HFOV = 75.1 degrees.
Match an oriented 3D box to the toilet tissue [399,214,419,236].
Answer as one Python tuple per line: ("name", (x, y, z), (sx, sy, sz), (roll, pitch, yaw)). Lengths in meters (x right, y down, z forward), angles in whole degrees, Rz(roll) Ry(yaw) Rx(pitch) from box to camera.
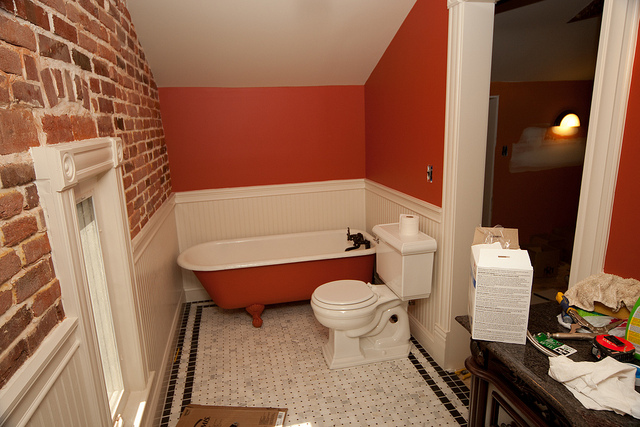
("toilet tissue", (0.731, 0.094, 3.482), (0.153, 0.147, 0.161), (1, 6, -3))

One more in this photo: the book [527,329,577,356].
("book", (1.151, 0.646, 2.108), (0.085, 0.024, 0.163), (-16, 14, -17))

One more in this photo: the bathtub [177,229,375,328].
("bathtub", (-0.387, 0.697, 4.376), (2.009, 0.749, 0.789), (-5, 13, -9))

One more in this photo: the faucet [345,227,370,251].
("faucet", (0.389, 0.279, 4.471), (0.211, 0.250, 0.180), (-5, 6, -14))

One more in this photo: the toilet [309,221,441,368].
("toilet", (0.442, 0.689, 3.596), (1.050, 1.128, 0.424), (-5, 16, -9))
